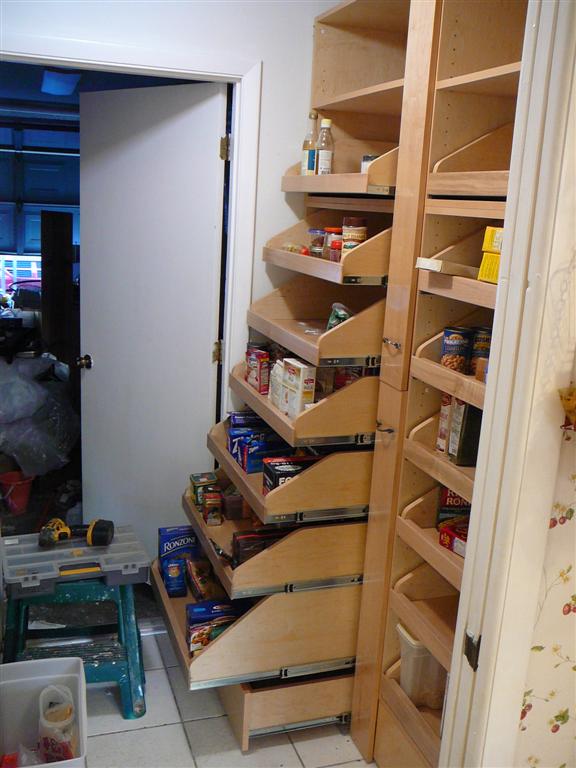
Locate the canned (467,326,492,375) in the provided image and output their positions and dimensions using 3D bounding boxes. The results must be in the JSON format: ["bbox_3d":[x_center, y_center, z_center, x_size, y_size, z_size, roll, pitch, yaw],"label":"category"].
[{"bbox_3d":[0.438,-0.064,1.390,0.046,0.109,0.133,2,16,17],"label":"canned"}]

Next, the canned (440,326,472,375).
[{"bbox_3d":[0.400,-0.082,1.454,0.067,0.097,0.060,5,17,25],"label":"canned"}]

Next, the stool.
[{"bbox_3d":[-0.748,0.920,2.358,0.561,0.664,0.441,3,-5,-17],"label":"stool"}]
